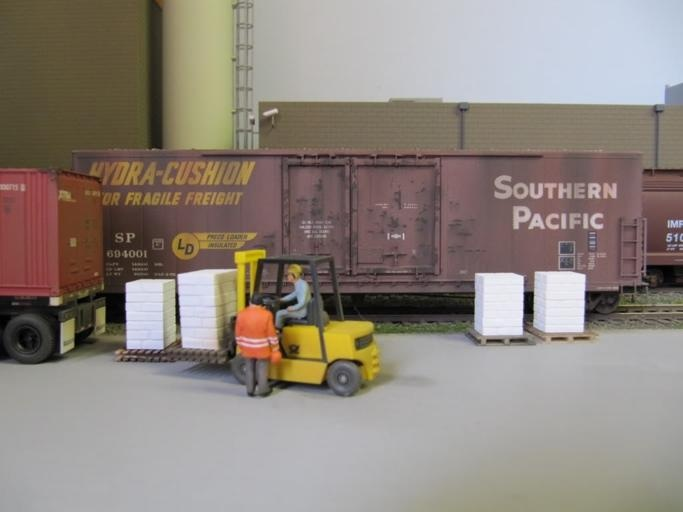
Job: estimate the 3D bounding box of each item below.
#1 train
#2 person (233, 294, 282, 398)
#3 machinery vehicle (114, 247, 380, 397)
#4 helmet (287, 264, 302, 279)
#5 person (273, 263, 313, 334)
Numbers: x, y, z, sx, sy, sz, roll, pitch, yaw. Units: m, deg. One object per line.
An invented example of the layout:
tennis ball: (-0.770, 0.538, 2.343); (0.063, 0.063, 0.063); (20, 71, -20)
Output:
train: (3.397, -1.092, 19.544); (20.218, 5.959, 5.413); (1, 4, -1)
person: (-1.662, 1.798, 12.761); (0.899, 2.089, 0.345); (-1, 3, -4)
machinery vehicle: (-1.419, 1.338, 14.831); (7.105, 4.079, 2.560); (2, 2, 7)
helmet: (-0.922, 0.333, 13.274); (0.291, 0.256, 0.225); (11, -7, -42)
person: (-0.975, 0.862, 13.121); (0.734, 1.366, 0.405); (-1, 3, 0)
